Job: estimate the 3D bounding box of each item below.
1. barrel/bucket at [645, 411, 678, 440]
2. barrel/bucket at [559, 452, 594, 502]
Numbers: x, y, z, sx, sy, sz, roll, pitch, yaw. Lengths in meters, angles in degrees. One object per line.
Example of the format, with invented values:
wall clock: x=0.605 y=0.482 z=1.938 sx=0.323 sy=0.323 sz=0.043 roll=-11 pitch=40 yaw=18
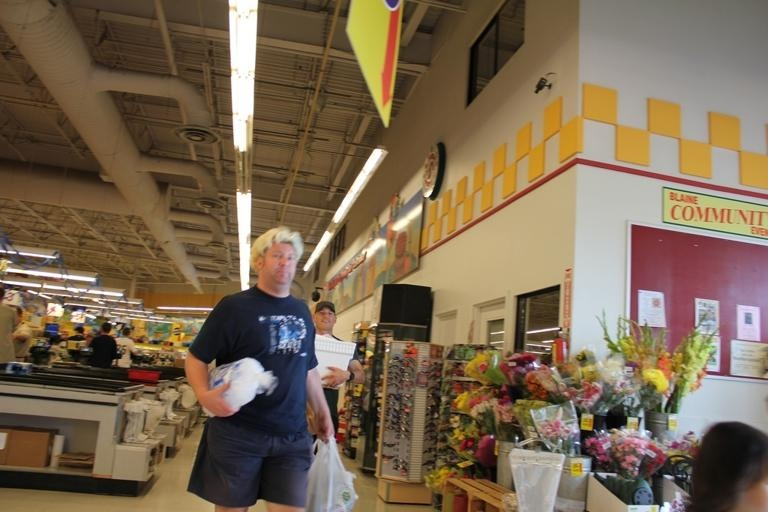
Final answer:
barrel/bucket: x=2.273 y=1.376 z=4.197 sx=0.234 sy=0.211 sz=0.216 roll=4 pitch=-14 yaw=1
barrel/bucket: x=1.378 y=1.594 z=3.688 sx=0.203 sy=0.304 sz=0.106 roll=8 pitch=-17 yaw=-4
